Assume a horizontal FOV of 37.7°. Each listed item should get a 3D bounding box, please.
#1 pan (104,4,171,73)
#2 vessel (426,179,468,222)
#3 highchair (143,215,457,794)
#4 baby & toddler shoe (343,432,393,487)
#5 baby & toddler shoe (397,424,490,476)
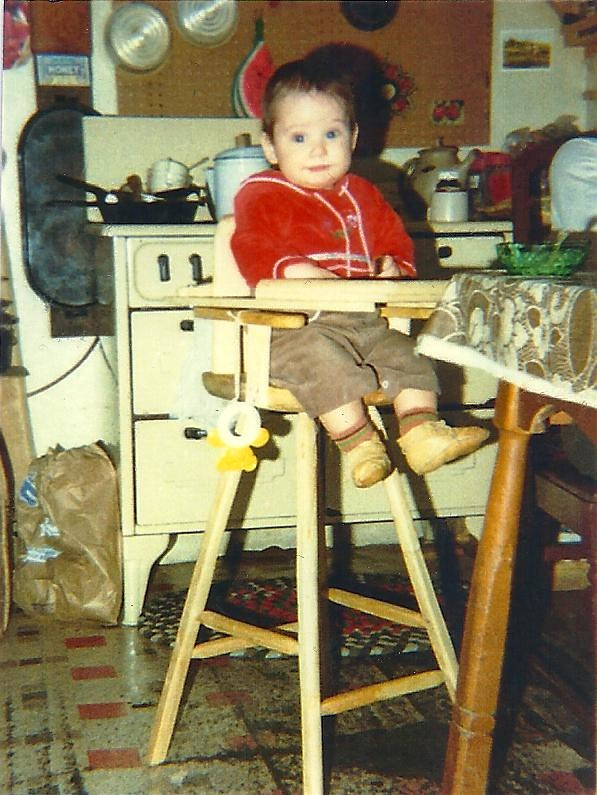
[{"bbox_3d":[-0.459,-1.002,2.431,0.232,0.188,0.041,-2,4,-13],"label":"pan"},{"bbox_3d":[0.386,-0.495,2.289,0.157,0.118,0.142,-1,5,-2],"label":"vessel"},{"bbox_3d":[0.097,0.130,1.528,0.545,0.869,0.600,-3,8,-20],"label":"highchair"},{"bbox_3d":[0.103,0.093,1.306,0.066,0.069,0.118,0,9,4],"label":"baby & toddler shoe"},{"bbox_3d":[0.207,0.061,1.336,0.176,0.078,0.100,-3,11,-22],"label":"baby & toddler shoe"}]
